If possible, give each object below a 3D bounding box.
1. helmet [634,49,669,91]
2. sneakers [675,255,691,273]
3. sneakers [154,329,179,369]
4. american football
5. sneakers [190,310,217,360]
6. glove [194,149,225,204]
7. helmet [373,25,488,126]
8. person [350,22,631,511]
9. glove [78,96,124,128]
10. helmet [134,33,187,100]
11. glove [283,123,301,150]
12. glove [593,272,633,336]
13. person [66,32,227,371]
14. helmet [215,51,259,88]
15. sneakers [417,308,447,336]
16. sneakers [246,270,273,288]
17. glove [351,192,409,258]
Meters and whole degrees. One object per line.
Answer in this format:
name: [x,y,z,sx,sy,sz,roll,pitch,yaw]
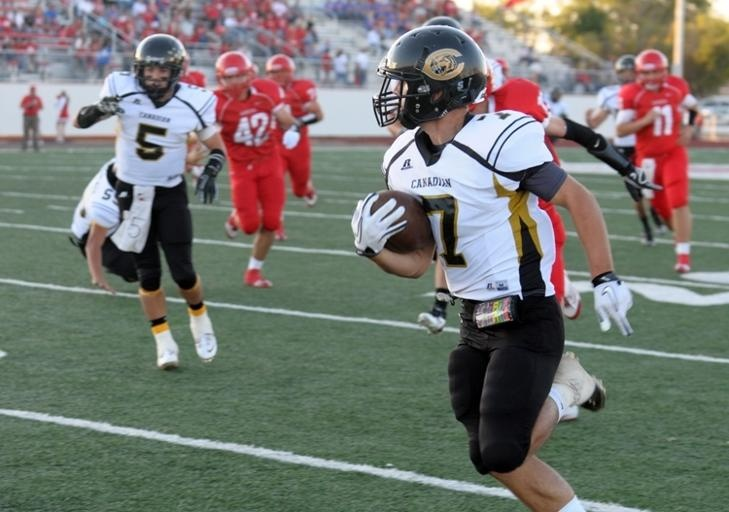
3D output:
helmet: [2.856,-1.886,7.284,0.300,0.364,0.399,-5,38,29]
sneakers: [3.082,0.085,7.106,0.146,0.136,0.091,20,-25,-10]
sneakers: [-1.253,0.594,4.677,0.137,0.234,0.255,-3,15,-15]
american football: [0.191,-0.127,3.057,0.230,0.305,0.130,-17,48,4]
sneakers: [-1.071,0.530,4.747,0.130,0.158,0.373,-24,37,-2]
glove: [-0.984,-0.507,4.733,0.179,0.105,0.374,17,53,-11]
helmet: [0.284,-0.778,3.212,0.499,0.375,0.402,0,22,7]
person: [0.537,0.007,3.031,0.631,1.853,1.076,-11,19,-39]
glove: [-1.661,-0.893,4.585,0.208,0.192,0.355,-13,20,-42]
helmet: [-1.277,-1.183,4.619,0.330,0.401,0.261,-3,15,-14]
glove: [-0.827,-1.369,8.510,0.211,0.280,0.095,17,-21,14]
glove: [1.004,0.201,2.978,0.161,0.287,0.240,6,15,20]
person: [-1.301,-0.345,4.651,0.816,2.040,0.657,-1,15,-6]
helmet: [-1.093,-1.612,6.355,0.268,0.274,0.356,-14,28,0]
sneakers: [0.464,0.453,5.161,0.118,0.101,0.228,-26,41,-24]
sneakers: [-0.950,0.179,6.552,0.235,0.131,0.400,-1,15,-9]
glove: [0.064,-0.124,2.957,0.213,0.254,0.174,1,15,2]
